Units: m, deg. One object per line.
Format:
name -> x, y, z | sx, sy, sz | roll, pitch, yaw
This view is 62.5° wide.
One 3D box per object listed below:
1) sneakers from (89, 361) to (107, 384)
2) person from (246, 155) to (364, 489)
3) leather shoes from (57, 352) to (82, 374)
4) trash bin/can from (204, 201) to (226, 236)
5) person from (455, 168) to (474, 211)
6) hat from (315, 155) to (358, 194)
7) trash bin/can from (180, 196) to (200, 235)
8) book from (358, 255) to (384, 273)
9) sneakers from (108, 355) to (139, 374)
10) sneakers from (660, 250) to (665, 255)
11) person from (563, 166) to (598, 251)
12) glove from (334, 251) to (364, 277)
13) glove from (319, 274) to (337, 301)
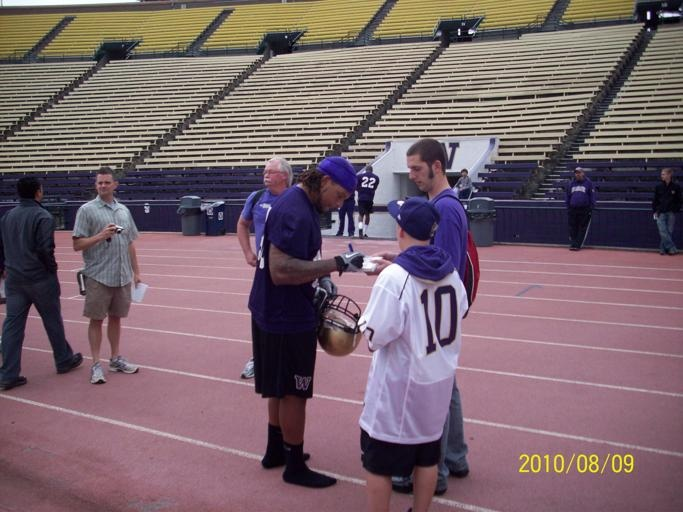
sneakers -> -2.674, 1.268, 6.152 | 0.158, 0.189, 0.224 | -6, 13, -24
person -> -0.311, 0.526, 4.474 | 0.821, 2.566, 0.567 | -3, 12, -11
leather shoes -> -3.123, 1.241, 6.490 | 0.106, 0.136, 0.281 | 13, 30, 29
trash bin/can -> -4.220, -1.226, 18.668 | 0.629, 1.099, 0.636 | 8, 11, 35
person -> 3.553, -1.941, 16.635 | 0.479, 1.262, 0.660 | 1, -9, 38
hat -> -0.032, -0.634, 4.447 | 0.373, 0.262, 0.292 | 15, -3, -8
trash bin/can -> -4.950, -1.330, 18.444 | 1.032, 1.434, 0.825 | 0, 7, -18
book -> 0.218, 0.059, 4.325 | 0.121, 0.036, 0.126 | 4, 39, 43
sneakers -> -2.490, 1.241, 6.456 | 0.313, 0.163, 0.164 | 5, 4, 6
sneakers -> 7.618, -0.095, 13.448 | 0.151, 0.095, 0.098 | 2, -1, -2
person -> 5.940, -1.173, 14.087 | 0.674, 2.047, 0.899 | 5, 13, 24
glove -> 0.054, 0.057, 4.270 | 0.147, 0.121, 0.190 | 2, 13, 38
glove -> -0.110, 0.253, 4.575 | 0.074, 0.183, 0.124 | -18, 19, -25
